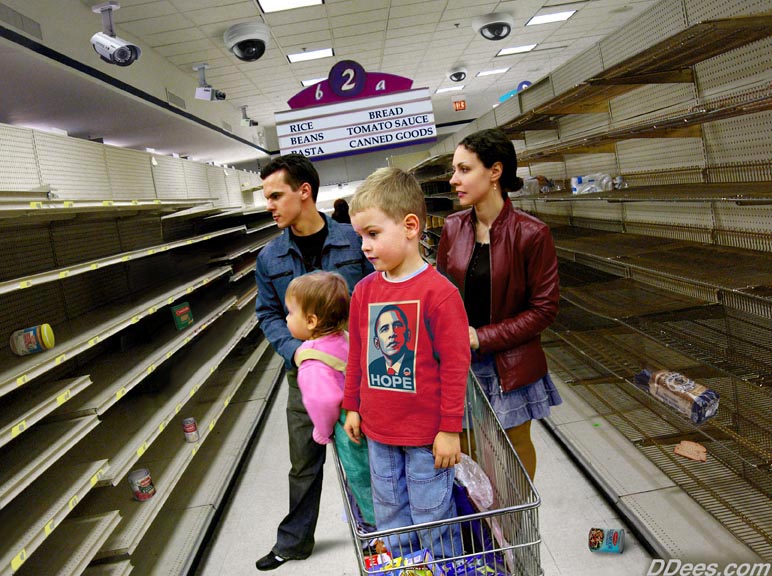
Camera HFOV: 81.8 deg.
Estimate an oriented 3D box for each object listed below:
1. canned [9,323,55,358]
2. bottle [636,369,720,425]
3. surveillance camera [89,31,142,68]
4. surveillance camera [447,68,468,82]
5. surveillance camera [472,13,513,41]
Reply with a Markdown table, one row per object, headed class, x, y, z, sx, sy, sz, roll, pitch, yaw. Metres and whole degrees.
| class | x | y | z | sx | sy | sz | roll | pitch | yaw |
| --- | --- | --- | --- | --- | --- | --- | --- | --- | --- |
| canned | -1.860 | 0.284 | 2.352 | 0.176 | 0.089 | 0.100 | -10 | 18 | 4 |
| bottle | 1.602 | 0.579 | 2.462 | 0.240 | 0.109 | 0.350 | -14 | 20 | -23 |
| surveillance camera | -2.794 | -2.515 | 4.660 | 0.407 | 0.303 | 0.210 | -3 | 6 | -8 |
| surveillance camera | 1.814 | -5.351 | 11.052 | 0.432 | 0.204 | 0.377 | -2 | -10 | -6 |
| surveillance camera | 1.957 | -4.604 | 7.955 | 0.533 | 0.279 | 0.467 | -2 | -10 | 0 |
